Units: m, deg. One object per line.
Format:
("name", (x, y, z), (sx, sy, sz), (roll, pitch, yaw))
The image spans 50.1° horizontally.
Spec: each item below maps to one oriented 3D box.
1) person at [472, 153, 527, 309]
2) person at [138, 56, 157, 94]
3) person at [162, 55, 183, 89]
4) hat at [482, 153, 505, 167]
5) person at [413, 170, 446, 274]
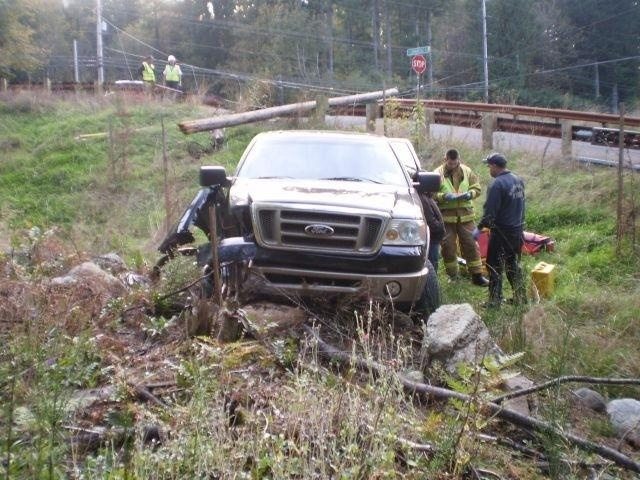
("person", (2.573, -0.186, 9.586), (0.669, 1.834, 1.591), (4, 15, 13))
("person", (-5.481, -5.308, 21.951), (0.391, 1.056, 2.222), (-3, 18, -14))
("person", (-5.018, -5.700, 23.271), (0.544, 1.157, 3.062), (-2, 18, -12))
("hat", (2.557, -1.143, 9.892), (0.221, 0.175, 0.165), (11, 21, 40))
("person", (1.648, -0.206, 9.626), (0.309, 1.398, 0.354), (10, 36, 20))
